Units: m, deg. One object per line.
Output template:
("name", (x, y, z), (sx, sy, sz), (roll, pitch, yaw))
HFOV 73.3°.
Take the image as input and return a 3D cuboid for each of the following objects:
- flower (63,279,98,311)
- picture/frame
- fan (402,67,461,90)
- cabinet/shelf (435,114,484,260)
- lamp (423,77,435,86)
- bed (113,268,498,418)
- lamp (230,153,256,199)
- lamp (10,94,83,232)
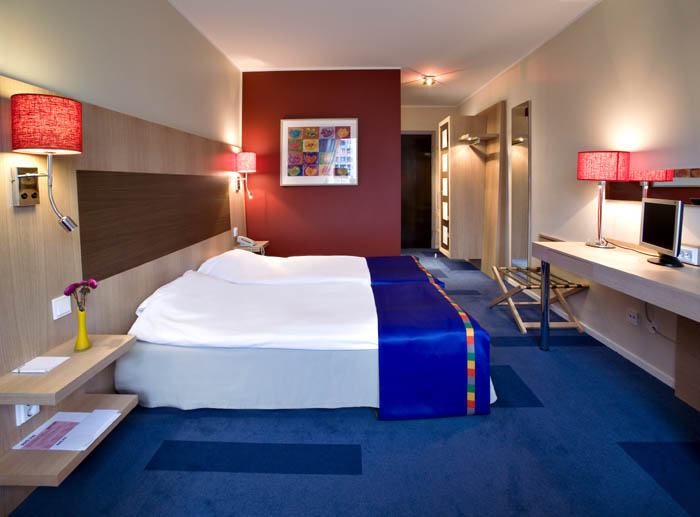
("flower", (-1.697, 0.213, 2.935), (0.198, 0.206, 0.196), (5, -1, -43))
("picture/frame", (-0.416, -1.431, 6.092), (0.810, 0.722, 0.030), (0, 3, 3))
("fan", (1.118, -2.520, 6.583), (0.738, 0.104, 1.058), (2, 12, 8))
("cabinet/shelf", (1.772, -1.123, 7.618), (0.540, 2.260, 1.406), (-4, 12, -17))
("lamp", (1.104, -2.479, 6.579), (0.117, 0.090, 0.119), (0, 12, 4))
("bed", (-0.340, 0.654, 3.488), (1.654, 0.582, 1.357), (-1, 6, -3))
("lamp", (-1.309, -1.040, 5.923), (0.266, 0.582, 0.471), (-2, 12, -11))
("lamp", (-1.741, -0.554, 2.708), (0.327, 0.767, 0.305), (4, 12, 22))
